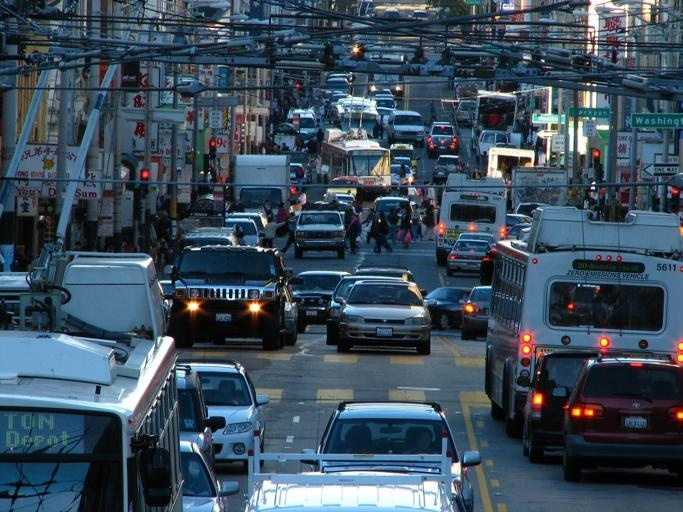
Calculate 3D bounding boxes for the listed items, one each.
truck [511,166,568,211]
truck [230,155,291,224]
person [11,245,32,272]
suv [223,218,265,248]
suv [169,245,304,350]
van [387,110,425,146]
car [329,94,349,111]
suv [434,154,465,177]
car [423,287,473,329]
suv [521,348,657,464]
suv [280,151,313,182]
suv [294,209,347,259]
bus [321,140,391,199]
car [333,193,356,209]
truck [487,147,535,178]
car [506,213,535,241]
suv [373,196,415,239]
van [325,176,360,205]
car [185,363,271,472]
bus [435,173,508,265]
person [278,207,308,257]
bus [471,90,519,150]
[{"bbox_3d":[8.610,-3.060,68.532,2.743,3.128,1.881,1,1,0],"label":"truck"},{"bbox_3d":[-3.492,-3.454,69.184,2.213,2.494,4.289,0,1,0],"label":"truck"},{"bbox_3d":[-7.905,0.015,38.941,0.262,0.564,1.009,2,11,-7],"label":"person"},{"bbox_3d":[-3.542,-0.999,58.033,1.062,1.086,2.302,0,2,-2],"label":"suv"},{"bbox_3d":[-2.479,0.957,36.029,1.951,1.744,3.614,0,-4,-1],"label":"suv"},{"bbox_3d":[4.640,-9.297,113.570,2.177,2.424,4.018,4,8,26],"label":"van"},{"bbox_3d":[-0.172,-13.315,134.101,1.409,1.180,3.317,-1,4,-5],"label":"car"},{"bbox_3d":[6.294,-5.541,93.443,1.287,1.183,3.044,2,13,8],"label":"suv"},{"bbox_3d":[3.222,1.442,47.022,1.493,0.743,0.881,2,-1,-33],"label":"car"},{"bbox_3d":[3.792,2.281,23.991,1.413,1.628,2.712,1,6,1],"label":"suv"},{"bbox_3d":[-2.503,-5.772,97.576,1.302,1.436,2.828,0,-1,-2],"label":"suv"},{"bbox_3d":[-0.865,-0.937,62.026,1.581,1.642,3.382,0,-2,-1],"label":"suv"},{"bbox_3d":[0.902,-5.109,84.894,1.864,2.205,6.746,-1,5,-7],"label":"bus"},{"bbox_3d":[0.108,-2.697,74.961,0.796,0.743,1.761,0,-4,-2],"label":"car"},{"bbox_3d":[9.056,-4.467,84.775,2.151,2.324,3.812,0,14,1],"label":"truck"},{"bbox_3d":[5.771,-1.041,51.548,0.815,0.647,1.804,2,11,19],"label":"car"},{"bbox_3d":[2.247,-2.017,69.426,1.181,1.263,2.187,0,-4,-1],"label":"suv"},{"bbox_3d":[0.045,-3.550,80.535,1.138,1.826,3.568,0,-3,-4],"label":"van"},{"bbox_3d":[-1.751,2.404,25.103,1.192,1.027,1.885,0,-2,1],"label":"car"},{"bbox_3d":[5.016,-1.652,61.124,2.165,2.420,4.394,1,6,4],"label":"bus"},{"bbox_3d":[-1.767,-1.048,65.230,1.478,1.811,0.911,0,24,35],"label":"person"},{"bbox_3d":[10.730,-10.307,110.599,2.152,2.797,4.247,4,10,-2],"label":"bus"}]
